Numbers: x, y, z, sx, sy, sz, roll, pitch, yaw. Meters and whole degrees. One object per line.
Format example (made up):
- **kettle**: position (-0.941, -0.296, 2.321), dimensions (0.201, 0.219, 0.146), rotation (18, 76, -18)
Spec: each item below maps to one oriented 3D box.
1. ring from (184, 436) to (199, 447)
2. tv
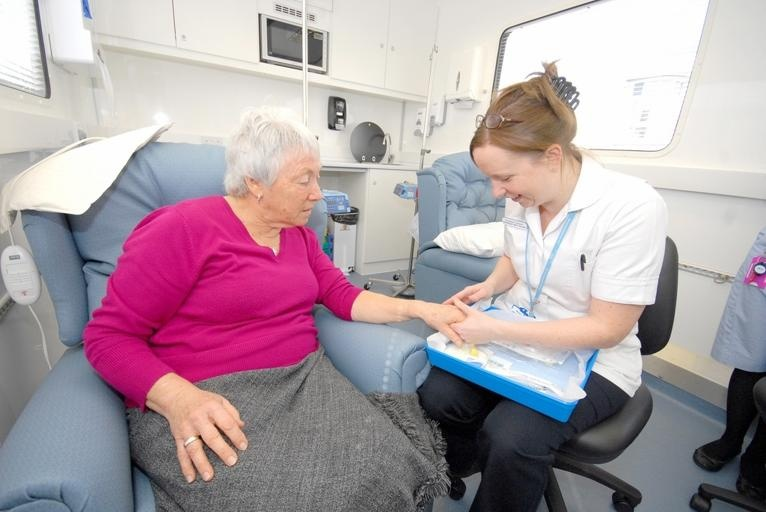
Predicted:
- **ring**: position (-0.698, 0.676, 1.658), dimensions (0.042, 0.043, 0.011), rotation (-30, 75, -24)
- **tv**: position (-0.886, -1.938, 4.121), dimensions (0.746, 0.454, 0.405), rotation (-11, 37, -44)
